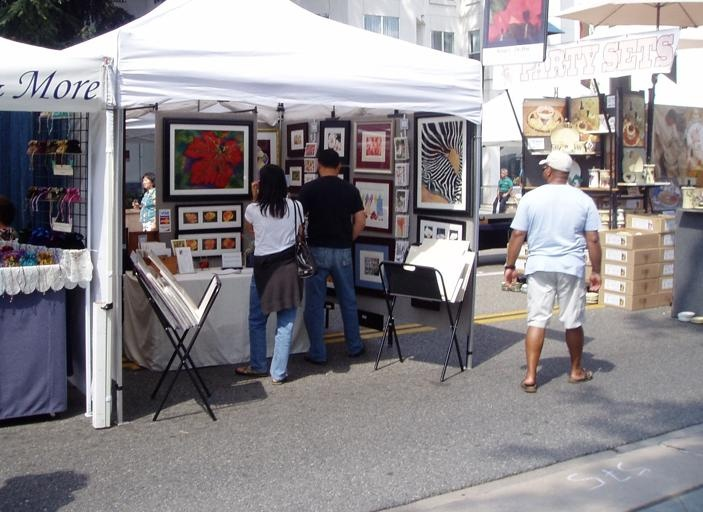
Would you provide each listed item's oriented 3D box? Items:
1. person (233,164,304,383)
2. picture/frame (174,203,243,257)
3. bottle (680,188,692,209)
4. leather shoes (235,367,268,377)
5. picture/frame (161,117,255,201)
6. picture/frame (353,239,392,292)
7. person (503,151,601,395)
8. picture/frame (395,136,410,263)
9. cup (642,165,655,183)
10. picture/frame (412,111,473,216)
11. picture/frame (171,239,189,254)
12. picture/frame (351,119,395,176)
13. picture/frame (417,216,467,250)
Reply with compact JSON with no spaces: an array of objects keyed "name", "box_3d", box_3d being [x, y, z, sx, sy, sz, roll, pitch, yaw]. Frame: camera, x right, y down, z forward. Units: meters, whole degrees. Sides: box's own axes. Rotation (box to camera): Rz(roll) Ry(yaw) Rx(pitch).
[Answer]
[{"name":"person","box_3d":[-0.810,0.183,6.472,0.641,2.212,0.496,2,8,11]},{"name":"picture/frame","box_3d":[-1.768,-0.310,7.609,0.570,0.501,0.057,-3,-1,-31]},{"name":"bottle","box_3d":[4.561,-0.798,8.576,0.131,0.270,0.103,5,10,30]},{"name":"leather shoes","box_3d":[-1.063,1.179,6.654,0.325,0.090,0.130,7,3,16]},{"name":"picture/frame","box_3d":[-1.782,-1.186,7.601,0.945,0.915,0.072,-3,6,-31]},{"name":"picture/frame","box_3d":[0.257,0.119,7.371,0.554,0.706,0.050,0,-1,42]},{"name":"person","box_3d":[1.998,0.153,6.298,0.915,2.336,0.524,1,8,8]},{"name":"picture/frame","box_3d":[0.574,-0.699,7.235,0.192,1.472,0.336,0,8,1]},{"name":"cup","box_3d":[5.047,-1.396,10.760,0.167,0.310,0.205,2,9,12]},{"name":"picture/frame","box_3d":[0.987,-1.015,6.940,0.751,1.034,0.084,9,12,43]},{"name":"picture/frame","box_3d":[-1.974,-0.101,7.222,0.169,0.021,0.210,11,37,-29]},{"name":"picture/frame","box_3d":[0.272,-1.291,7.496,0.637,0.823,0.055,1,0,43]},{"name":"picture/frame","box_3d":[0.986,-0.276,7.002,0.095,0.298,0.664,-6,12,-38]}]
